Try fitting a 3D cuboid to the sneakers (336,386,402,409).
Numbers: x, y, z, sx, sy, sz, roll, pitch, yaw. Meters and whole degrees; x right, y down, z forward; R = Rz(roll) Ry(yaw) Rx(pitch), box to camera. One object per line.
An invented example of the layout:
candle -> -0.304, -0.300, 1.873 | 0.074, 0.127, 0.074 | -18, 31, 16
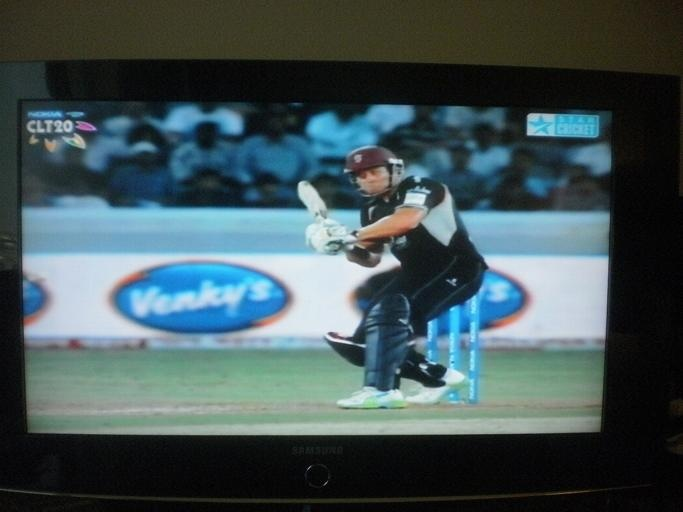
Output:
sneakers -> 0.087, 0.384, 2.534 | 0.201, 0.059, 0.060 | 2, -11, -3
